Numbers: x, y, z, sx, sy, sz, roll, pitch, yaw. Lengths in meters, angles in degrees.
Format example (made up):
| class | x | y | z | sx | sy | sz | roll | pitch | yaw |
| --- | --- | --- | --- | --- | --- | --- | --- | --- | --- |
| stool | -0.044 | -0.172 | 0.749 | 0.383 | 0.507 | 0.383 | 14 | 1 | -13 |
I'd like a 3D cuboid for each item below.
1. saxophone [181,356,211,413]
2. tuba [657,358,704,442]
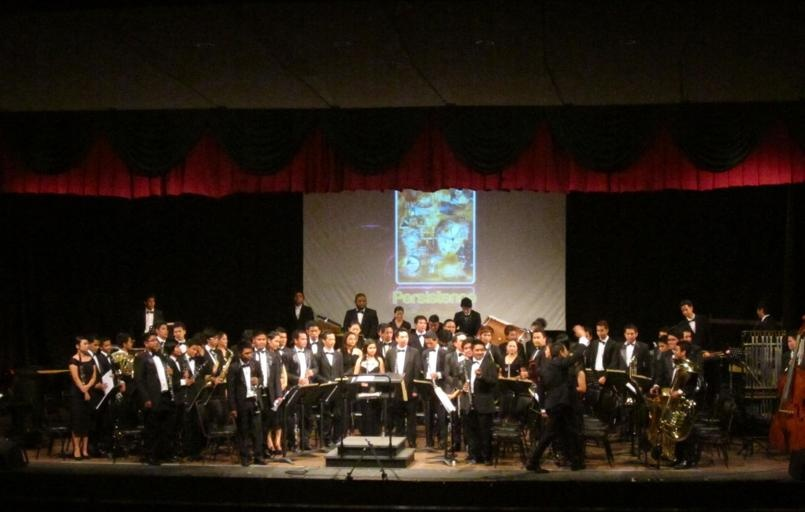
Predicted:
| class | x | y | z | sx | sy | sz | roll | pitch | yaw |
| --- | --- | --- | --- | --- | --- | --- | --- | --- | --- |
| saxophone | -4.219 | 2.590 | 16.111 | 0.269 | 0.946 | 0.598 | 4 | 9 | 14 |
| tuba | 5.281 | 2.778 | 15.067 | 0.652 | 1.634 | 0.631 | 1 | 6 | 6 |
